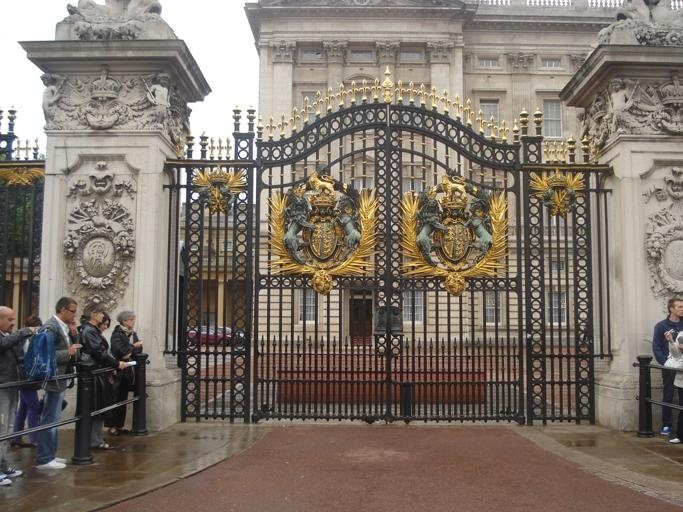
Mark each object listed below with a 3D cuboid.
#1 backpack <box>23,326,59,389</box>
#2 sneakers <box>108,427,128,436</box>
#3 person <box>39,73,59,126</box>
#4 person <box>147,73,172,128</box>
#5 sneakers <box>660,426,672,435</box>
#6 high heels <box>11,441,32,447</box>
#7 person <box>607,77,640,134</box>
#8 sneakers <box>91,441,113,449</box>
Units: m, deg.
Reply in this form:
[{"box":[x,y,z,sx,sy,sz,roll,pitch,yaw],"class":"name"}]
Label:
[{"box":[-4.561,1.514,16.133,0.455,0.822,0.716,-2,4,-18],"class":"backpack"},{"box":[-3.849,3.036,18.175,0.395,0.145,0.120,1,-1,-7],"class":"sneakers"},{"box":[-5.232,-2.819,19.014,0.331,0.919,0.289,-2,9,-16],"class":"person"},{"box":[-3.302,-2.811,19.132,0.487,0.950,0.376,-5,10,-30],"class":"person"},{"box":[5.644,3.064,18.393,0.098,0.109,0.270,-9,-15,30],"class":"sneakers"},{"box":[-5.266,3.103,17.404,0.334,0.119,0.113,-4,-6,-4],"class":"high heels"},{"box":[5.099,-2.703,19.127,0.495,1.017,0.344,2,9,12],"class":"person"},{"box":[-3.921,3.091,17.207,0.331,0.085,0.125,1,-1,7],"class":"sneakers"}]
